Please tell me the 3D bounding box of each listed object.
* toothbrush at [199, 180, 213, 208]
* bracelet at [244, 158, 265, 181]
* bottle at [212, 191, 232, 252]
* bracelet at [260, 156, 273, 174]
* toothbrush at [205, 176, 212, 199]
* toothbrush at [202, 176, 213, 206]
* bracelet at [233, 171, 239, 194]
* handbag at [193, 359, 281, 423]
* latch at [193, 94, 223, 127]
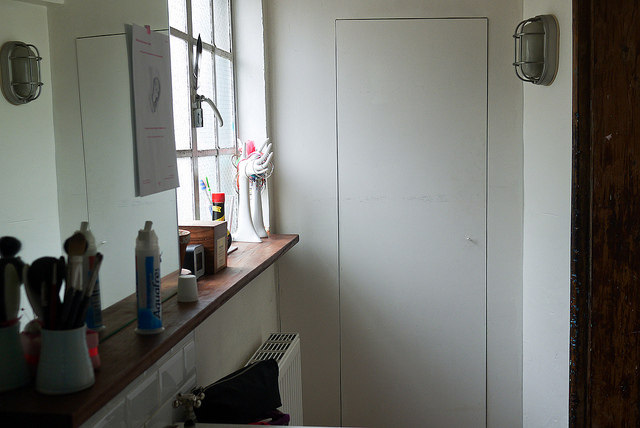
[{"bbox_3d":[-0.528,-0.093,2.238,0.016,0.127,0.018,-12,19,-3],"label":"toothbrush"},{"bbox_3d":[-0.323,-0.227,2.382,0.084,0.092,0.021,4,12,1],"label":"bracelet"},{"bbox_3d":[-0.436,0.040,2.143,0.071,0.260,0.255,-5,10,-13],"label":"bottle"},{"bbox_3d":[-0.270,-0.249,2.426,0.087,0.089,0.021,34,34,23],"label":"bracelet"},{"bbox_3d":[-0.510,-0.117,2.238,0.014,0.138,0.018,3,16,28],"label":"toothbrush"},{"bbox_3d":[-0.519,-0.112,2.236,0.033,0.121,0.156,-5,10,-15],"label":"toothbrush"},{"bbox_3d":[-0.430,-0.162,2.503,0.035,0.145,0.029,-3,10,-19],"label":"bracelet"},{"bbox_3d":[-0.260,0.629,1.700,0.143,0.144,0.359,3,12,32],"label":"handbag"},{"bbox_3d":[-0.488,-0.451,2.127,0.115,0.181,0.056,5,38,-6],"label":"latch"}]
